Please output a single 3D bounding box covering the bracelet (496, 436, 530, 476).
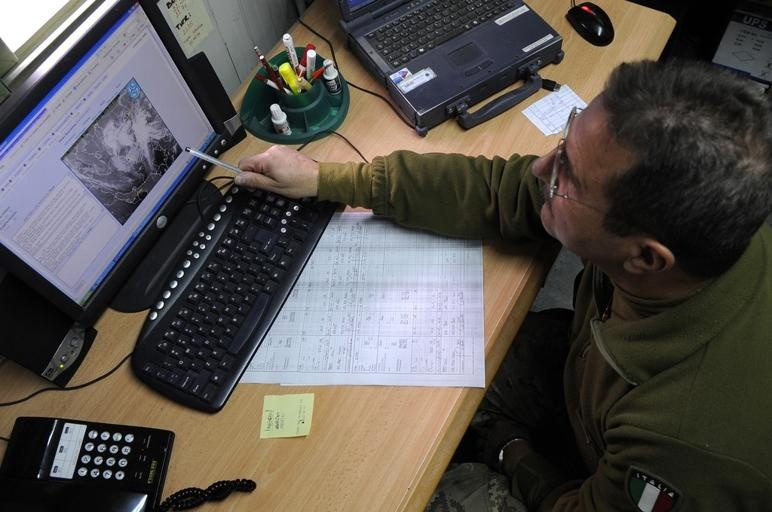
[{"bbox_3d":[0.335,0.529,1.557,0.088,0.070,0.062,-56,52,23],"label":"bracelet"}]

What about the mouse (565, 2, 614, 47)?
[{"bbox_3d":[0.547,-0.617,1.594,0.080,0.041,0.142,-37,78,-9],"label":"mouse"}]

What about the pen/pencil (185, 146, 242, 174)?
[{"bbox_3d":[-0.421,-0.231,1.410,0.128,0.019,0.019,28,98,1],"label":"pen/pencil"}]
